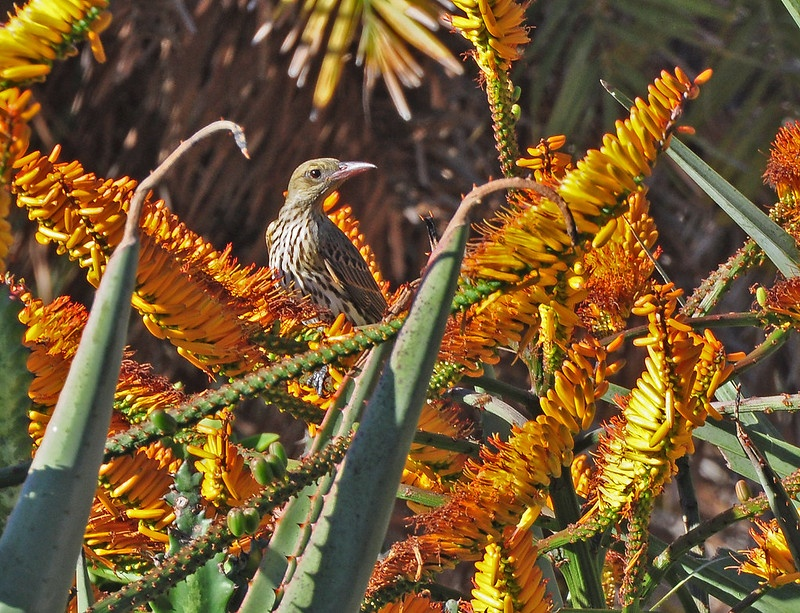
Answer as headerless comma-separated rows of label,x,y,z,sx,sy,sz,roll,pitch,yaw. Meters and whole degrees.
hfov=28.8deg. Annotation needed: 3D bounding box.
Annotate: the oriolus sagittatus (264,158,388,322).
oriolus sagittatus,-0.156,-0.133,3.077,0.207,0.339,0.152,-27,-37,5
